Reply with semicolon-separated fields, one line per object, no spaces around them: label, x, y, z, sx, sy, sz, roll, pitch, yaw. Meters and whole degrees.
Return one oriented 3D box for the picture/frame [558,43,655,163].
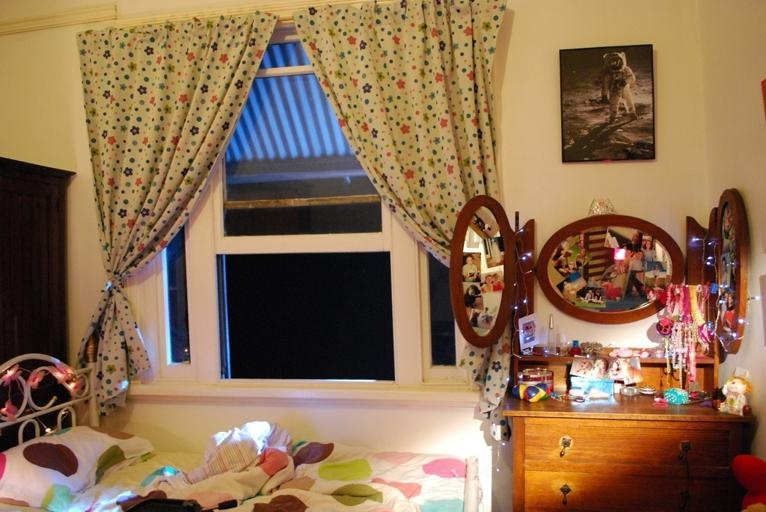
picture/frame;1.372;-0.935;3.494;0.700;0.868;0.034;-1;2;7

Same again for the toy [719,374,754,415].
toy;1.885;0.745;3.111;0.145;0.201;0.080;-2;-4;31
